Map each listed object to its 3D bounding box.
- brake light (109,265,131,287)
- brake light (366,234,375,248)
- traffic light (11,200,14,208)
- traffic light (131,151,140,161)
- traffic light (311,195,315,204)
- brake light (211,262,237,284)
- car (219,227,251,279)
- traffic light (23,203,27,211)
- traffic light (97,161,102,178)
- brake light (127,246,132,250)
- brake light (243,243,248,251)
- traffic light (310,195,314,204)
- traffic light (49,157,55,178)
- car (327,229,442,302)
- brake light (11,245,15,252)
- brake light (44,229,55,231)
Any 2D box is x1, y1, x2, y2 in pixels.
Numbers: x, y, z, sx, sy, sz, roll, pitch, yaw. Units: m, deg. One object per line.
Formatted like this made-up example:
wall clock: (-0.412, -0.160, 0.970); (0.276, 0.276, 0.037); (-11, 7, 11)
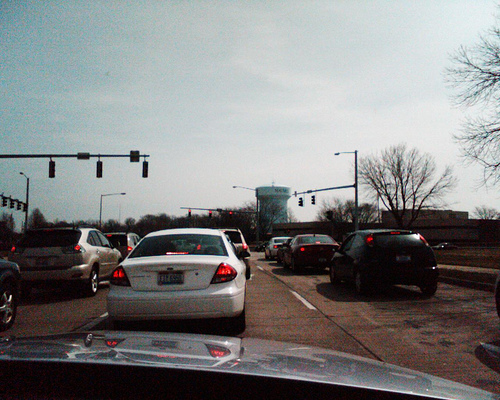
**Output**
brake light: (-1.866, 1.078, 6.520); (0.183, 0.287, 0.433); (-2, -1, -38)
brake light: (2.908, 0.994, 11.079); (0.186, 0.295, 0.332); (-3, -1, 16)
traffic light: (-24.250, 0.380, 46.879); (0.259, 0.690, 0.861); (-2, -1, -27)
traffic light: (-6.292, -2.436, 25.222); (0.419, 0.496, 0.491); (-3, -1, -23)
traffic light: (5.296, -0.017, 38.642); (0.179, 0.683, 0.558); (-3, -1, 12)
brake light: (-0.367, 1.040, 6.566); (0.145, 0.290, 0.432); (-3, -1, 42)
car: (-0.421, 1.635, 15.852); (1.084, 1.317, 2.258); (-1, 1, 3)
traffic light: (-21.372, 0.707, 43.647); (0.321, 0.663, 1.046); (-2, -1, -26)
traffic light: (-8.431, -1.704, 25.662); (0.239, 0.858, 0.320); (-2, 0, -20)
brake light: (-4.100, 1.632, 15.616); (0.226, 0.168, 0.242); (1, -11, -15)
brake light: (-0.187, 1.678, 16.612); (0.043, 0.190, 0.183); (8, 9, 28)
traffic light: (5.303, -0.016, 38.605); (0.170, 0.681, 0.507); (-3, -1, 6)
traffic light: (-10.859, -1.797, 25.112); (0.252, 1.070, 1.057); (-2, -1, -24)
car: (3.180, 1.522, 11.695); (1.369, 1.256, 2.443); (0, -1, -8)
brake light: (-5.538, 1.134, 10.744); (0.046, 0.155, 0.100); (-9, -15, 40)
brake light: (-4.726, 0.696, 10.802); (0.216, 0.037, 0.107); (-4, -1, 6)
